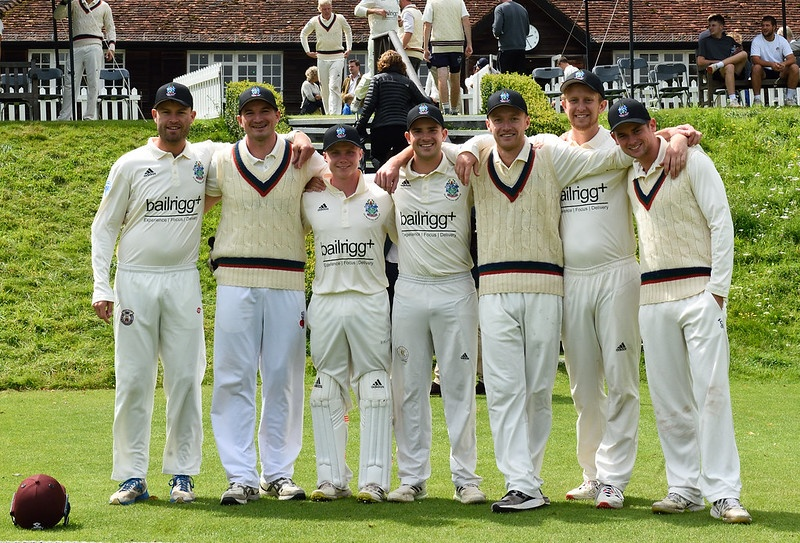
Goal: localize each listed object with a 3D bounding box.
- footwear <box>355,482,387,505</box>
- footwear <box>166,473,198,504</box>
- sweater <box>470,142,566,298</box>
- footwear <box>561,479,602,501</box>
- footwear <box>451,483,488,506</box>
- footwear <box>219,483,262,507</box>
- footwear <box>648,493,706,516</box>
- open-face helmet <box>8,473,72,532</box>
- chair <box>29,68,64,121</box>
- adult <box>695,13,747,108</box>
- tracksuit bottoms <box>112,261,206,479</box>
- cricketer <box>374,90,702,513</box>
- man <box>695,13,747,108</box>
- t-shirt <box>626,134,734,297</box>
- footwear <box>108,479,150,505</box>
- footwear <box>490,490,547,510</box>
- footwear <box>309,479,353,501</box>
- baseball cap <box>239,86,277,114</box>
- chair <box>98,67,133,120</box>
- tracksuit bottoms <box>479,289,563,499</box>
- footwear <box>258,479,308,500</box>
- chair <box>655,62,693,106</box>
[{"bbox_3d":[-0.362,2.754,18.541,0.162,0.199,0.382,-3,-21,22],"label":"footwear"},{"bbox_3d":[-2.708,2.724,18.693,0.322,0.329,0.356,0,1,-10],"label":"footwear"},{"bbox_3d":[1.546,-0.620,18.688,1.398,2.532,1.195,-3,-9,4],"label":"sweater"},{"bbox_3d":[2.301,2.761,18.769,0.475,0.232,0.180,1,0,-11],"label":"footwear"},{"bbox_3d":[0.893,2.791,18.645,0.188,0.161,0.372,1,-6,-33],"label":"footwear"},{"bbox_3d":[-1.996,2.786,18.558,0.195,0.254,0.520,-2,-14,21],"label":"footwear"},{"bbox_3d":[3.441,2.859,18.291,0.588,0.284,0.246,4,-4,-15],"label":"footwear"},{"bbox_3d":[-4.269,2.772,17.798,0.481,0.461,0.707,3,37,-7],"label":"open-face helmet"},{"bbox_3d":[-7.511,-3.716,31.768,0.661,1.183,0.835,-2,3,-19],"label":"chair"},{"bbox_3d":[6.844,-4.378,31.513,1.036,1.870,0.778,0,1,12],"label":"adult"},{"bbox_3d":[-3.032,1.291,18.779,1.093,2.626,0.284,0,0,-13],"label":"tracksuit bottoms"},{"bbox_3d":[1.765,0.536,18.748,4.312,5.872,1.821,-3,-8,11],"label":"cricketer"},{"bbox_3d":[6.844,-4.378,31.513,1.036,1.870,0.778,0,1,12],"label":"man"},{"bbox_3d":[3.432,-0.624,18.460,1.349,2.051,0.745,-19,-13,33],"label":"t-shirt"},{"bbox_3d":[-3.364,2.744,18.575,0.204,0.236,0.502,4,-4,24],"label":"footwear"},{"bbox_3d":[1.474,2.821,18.416,0.668,0.279,0.242,2,-9,-18],"label":"footwear"},{"bbox_3d":[-0.841,2.753,18.697,0.514,0.269,0.201,12,-21,-35],"label":"footwear"},{"bbox_3d":[-1.762,-2.122,18.954,0.437,0.322,0.664,-3,-3,-5],"label":"baseball cap"},{"bbox_3d":[-6.272,-3.876,33.493,0.608,1.187,0.721,12,11,4],"label":"chair"},{"bbox_3d":[1.524,1.487,18.793,0.967,2.751,0.790,5,-8,-16],"label":"tracksuit bottoms"},{"bbox_3d":[-1.461,2.723,18.778,0.547,0.263,0.241,-3,-4,33],"label":"footwear"},{"bbox_3d":[6.074,-4.044,33.027,0.765,1.001,0.813,-4,-2,0],"label":"chair"}]
